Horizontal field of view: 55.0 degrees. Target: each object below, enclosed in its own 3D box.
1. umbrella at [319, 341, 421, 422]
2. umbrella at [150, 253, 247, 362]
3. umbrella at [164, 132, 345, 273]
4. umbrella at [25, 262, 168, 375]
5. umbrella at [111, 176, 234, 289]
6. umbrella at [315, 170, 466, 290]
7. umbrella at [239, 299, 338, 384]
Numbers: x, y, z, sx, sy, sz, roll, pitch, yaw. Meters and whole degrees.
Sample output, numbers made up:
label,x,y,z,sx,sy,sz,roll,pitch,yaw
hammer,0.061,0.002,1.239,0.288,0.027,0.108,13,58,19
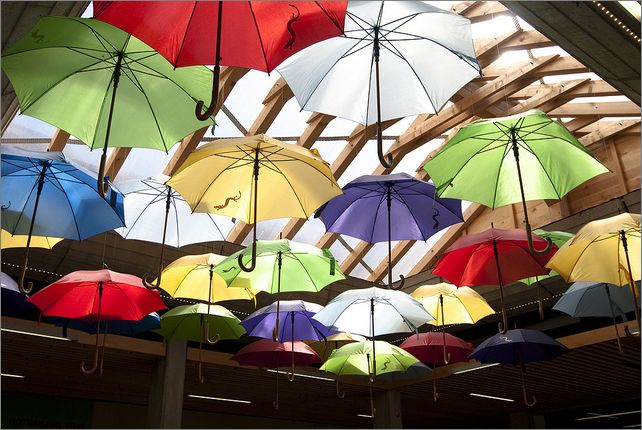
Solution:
label,x,y,z,sx,sy,sz,roll,pitch,yaw
umbrella,0.646,2.247,8.282,1.162,0.731,1.121,9,-40,-11
umbrella,-1.385,0.974,7.533,1.153,0.935,1.125,22,-38,-20
umbrella,-0.527,-0.312,5.907,1.456,1.011,1.372,-10,-41,24
umbrella,-2.427,0.991,7.172,1.364,1.030,1.320,-3,-41,-3
umbrella,-1.975,-0.040,7.728,1.349,0.973,1.288,21,-42,-27
umbrella,0.770,-0.019,6.794,1.350,1.109,1.293,5,-40,-3
umbrella,-0.472,1.479,8.179,1.198,0.762,1.190,-7,-37,7
